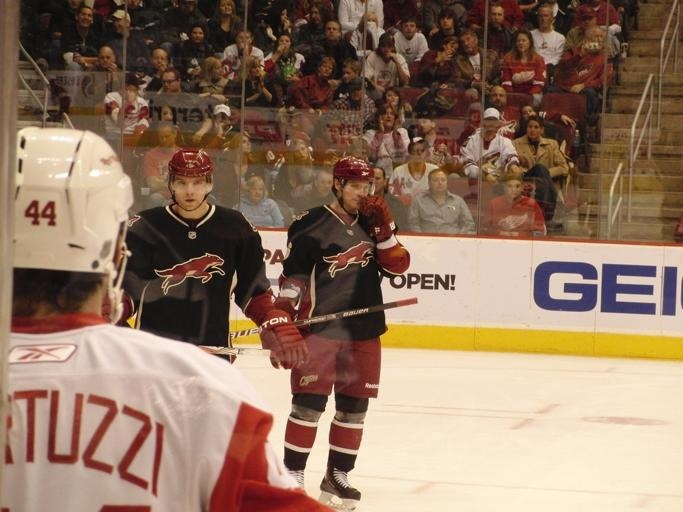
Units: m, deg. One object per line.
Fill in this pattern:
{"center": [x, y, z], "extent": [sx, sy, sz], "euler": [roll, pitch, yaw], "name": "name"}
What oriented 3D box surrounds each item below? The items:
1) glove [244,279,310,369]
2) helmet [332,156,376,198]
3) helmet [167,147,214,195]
{"center": [-0.336, 0.372, 5.565], "extent": [0.267, 0.434, 0.144], "euler": [-29, -11, -14], "name": "glove"}
{"center": [0.091, -0.447, 6.060], "extent": [0.226, 0.255, 0.259], "euler": [-4, 18, -17], "name": "helmet"}
{"center": [-0.780, -0.468, 5.586], "extent": [0.220, 0.202, 0.265], "euler": [2, 17, 1], "name": "helmet"}
